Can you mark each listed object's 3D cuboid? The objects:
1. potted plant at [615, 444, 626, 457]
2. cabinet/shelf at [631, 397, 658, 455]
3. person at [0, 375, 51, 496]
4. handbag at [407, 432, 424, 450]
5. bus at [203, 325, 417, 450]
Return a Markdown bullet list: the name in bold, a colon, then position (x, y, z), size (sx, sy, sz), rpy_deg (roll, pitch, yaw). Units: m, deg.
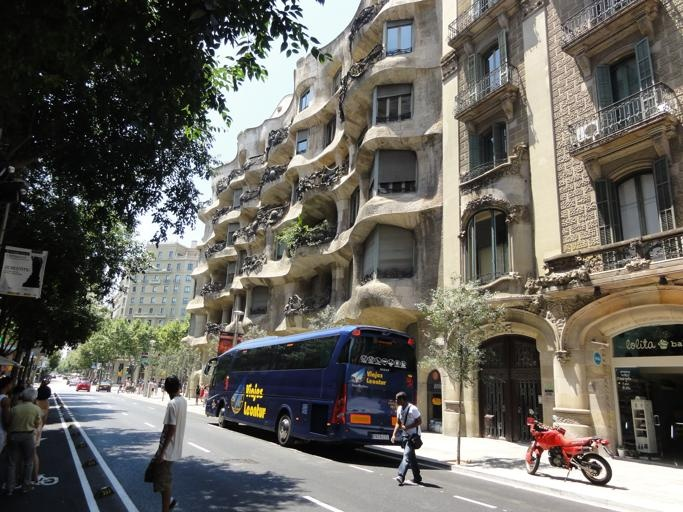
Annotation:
- **potted plant**: position (9.923, 6.923, 15.508), size (0.286, 0.343, 0.291), rpy_deg (14, -18, -10)
- **cabinet/shelf**: position (10.567, 5.868, 15.118), size (0.354, 1.808, 0.731), rpy_deg (20, -24, -40)
- **person**: position (-6.952, 3.946, 9.463), size (0.744, 2.102, 1.118), rpy_deg (12, -20, -22)
- **handbag**: position (1.953, 4.763, 11.249), size (0.439, 0.344, 0.215), rpy_deg (20, -24, -39)
- **bus**: position (-1.890, 6.318, 20.297), size (3.974, 4.547, 13.500), rpy_deg (18, -24, -30)
